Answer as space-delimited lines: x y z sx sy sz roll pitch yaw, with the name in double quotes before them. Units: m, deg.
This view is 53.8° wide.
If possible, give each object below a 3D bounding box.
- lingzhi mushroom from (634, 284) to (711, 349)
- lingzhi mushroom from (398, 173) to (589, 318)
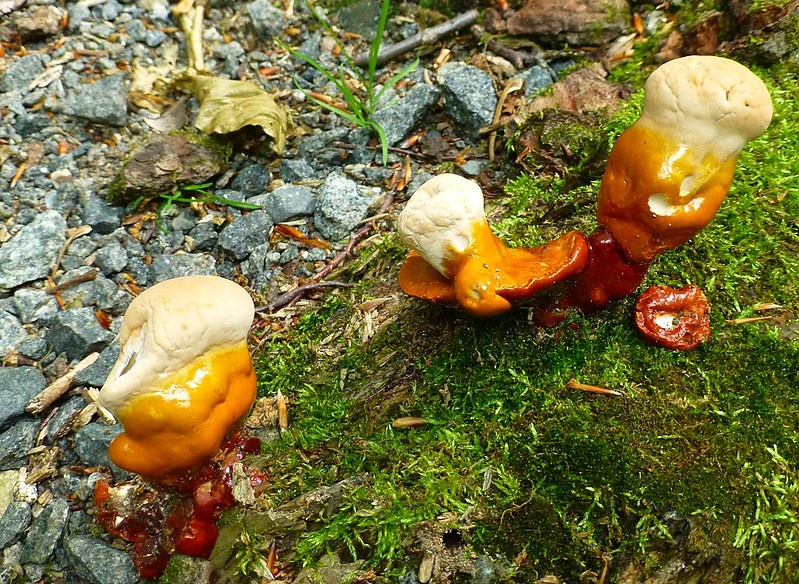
"lingzhi mushroom" 1.443 0.122 4.165 0.386 0.137 0.354 10 75 12
"lingzhi mushroom" 0.454 -0.206 3.930 0.941 0.405 0.668 2 47 14
